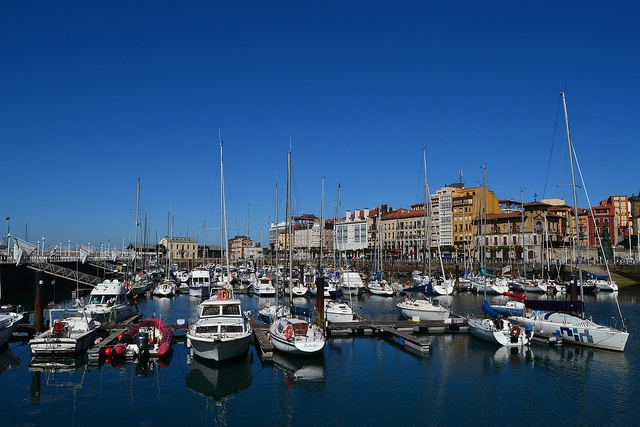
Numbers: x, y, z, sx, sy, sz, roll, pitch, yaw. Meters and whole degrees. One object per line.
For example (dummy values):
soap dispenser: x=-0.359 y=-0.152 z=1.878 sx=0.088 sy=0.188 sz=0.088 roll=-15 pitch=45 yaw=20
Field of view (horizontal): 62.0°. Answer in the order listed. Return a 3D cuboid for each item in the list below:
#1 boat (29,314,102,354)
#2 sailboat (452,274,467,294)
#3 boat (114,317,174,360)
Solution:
boat: x=-20.555 y=9.826 z=43.195 sx=3.412 sy=2.861 sz=4.638 roll=1 pitch=9 yaw=4
sailboat: x=23.050 y=12.083 z=86.050 sx=2.469 sy=2.302 sz=2.584 roll=0 pitch=-5 yaw=7
boat: x=-14.604 y=10.380 z=44.424 sx=4.276 sy=2.212 sz=3.964 roll=-1 pitch=9 yaw=-7
